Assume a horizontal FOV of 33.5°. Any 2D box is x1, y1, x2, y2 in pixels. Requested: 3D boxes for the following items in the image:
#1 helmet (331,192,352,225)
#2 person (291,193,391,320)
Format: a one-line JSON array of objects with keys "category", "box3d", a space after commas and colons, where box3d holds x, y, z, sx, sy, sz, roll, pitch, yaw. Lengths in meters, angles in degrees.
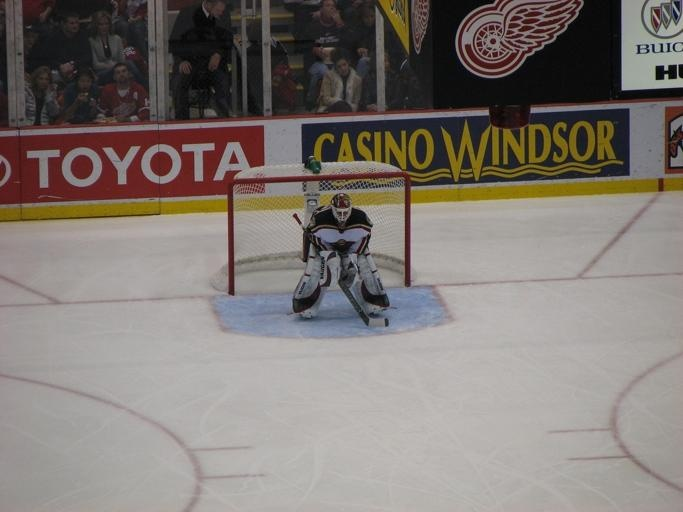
[{"category": "helmet", "box3d": [0.003, -0.439, 10.315, 0.226, 0.251, 0.264, 0, 39, -1]}, {"category": "person", "box3d": [-0.007, -0.008, 10.604, 0.873, 1.146, 0.717, -3, 14, -14]}]
